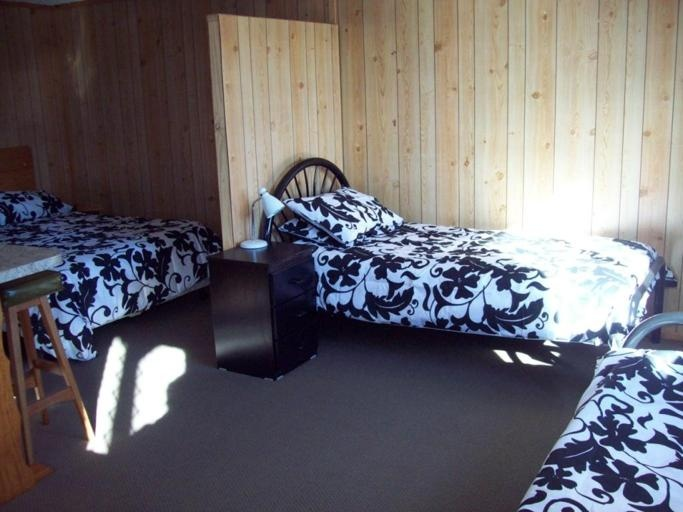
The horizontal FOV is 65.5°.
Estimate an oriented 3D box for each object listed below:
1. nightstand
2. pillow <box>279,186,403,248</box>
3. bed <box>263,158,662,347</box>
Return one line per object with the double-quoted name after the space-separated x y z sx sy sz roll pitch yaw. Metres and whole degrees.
-0.448 0.266 3.669 0.653 1.095 0.705 5 17 20 "nightstand"
0.070 -0.298 3.854 0.472 0.208 0.619 30 26 32 "pillow"
0.711 0.004 3.510 2.030 1.046 1.316 6 26 23 "bed"
